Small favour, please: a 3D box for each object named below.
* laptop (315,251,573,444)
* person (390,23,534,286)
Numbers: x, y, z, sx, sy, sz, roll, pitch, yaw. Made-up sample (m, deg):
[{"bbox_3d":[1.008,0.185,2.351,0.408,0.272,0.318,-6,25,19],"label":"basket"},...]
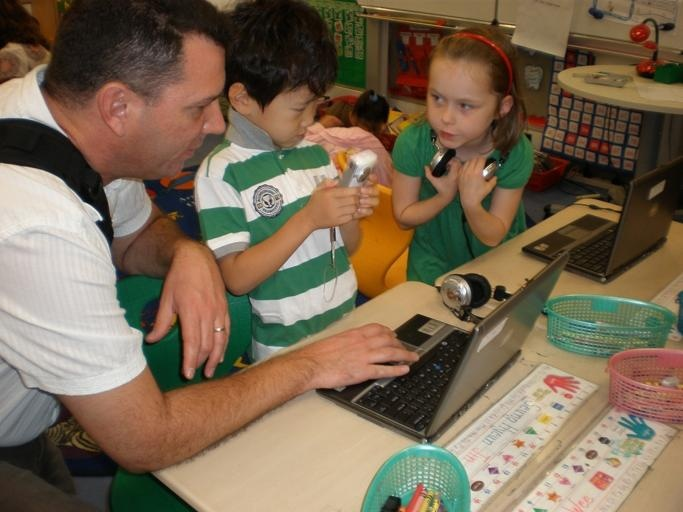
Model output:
[{"bbox_3d":[0.245,0.162,1.193,0.546,0.301,0.492,-17,22,-33],"label":"laptop"},{"bbox_3d":[0.500,-0.149,2.034,0.516,1.443,0.421,-1,43,10],"label":"person"}]
